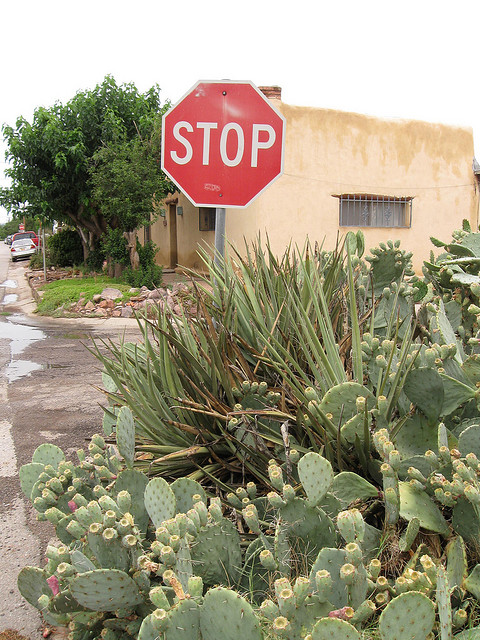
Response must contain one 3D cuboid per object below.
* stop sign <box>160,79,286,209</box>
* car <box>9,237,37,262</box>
[{"bbox_3d":[-0.088,-0.880,2.675,0.613,0.677,0.041,0,45,-5],"label":"stop sign"},{"bbox_3d":[-15.468,-5.056,38.203,1.743,1.712,2.605,-3,4,-22],"label":"car"}]
